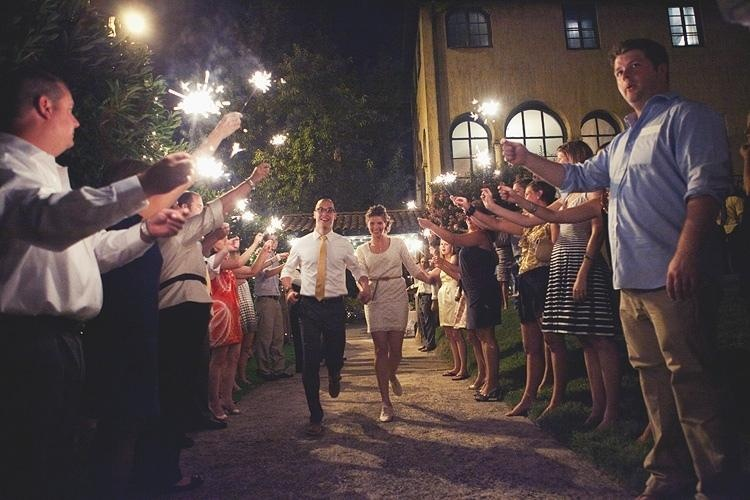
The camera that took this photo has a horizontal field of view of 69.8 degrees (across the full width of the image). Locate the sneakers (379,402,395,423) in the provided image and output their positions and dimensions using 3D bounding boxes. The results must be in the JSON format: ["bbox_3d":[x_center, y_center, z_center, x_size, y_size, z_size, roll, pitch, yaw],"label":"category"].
[{"bbox_3d":[0.137,1.989,6.598,0.174,0.154,0.257,-2,-1,-1],"label":"sneakers"}]

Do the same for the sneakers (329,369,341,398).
[{"bbox_3d":[-0.527,1.738,7.036,0.150,0.454,0.158,0,20,-4],"label":"sneakers"}]

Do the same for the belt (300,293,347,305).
[{"bbox_3d":[-0.665,0.621,6.802,0.504,0.085,0.182,-2,-1,-16],"label":"belt"}]

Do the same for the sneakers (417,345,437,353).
[{"bbox_3d":[1.191,2.385,12.925,0.162,0.198,0.479,9,-20,-31],"label":"sneakers"}]

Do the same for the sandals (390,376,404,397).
[{"bbox_3d":[0.280,1.917,7.502,0.126,0.357,0.127,-21,-36,6],"label":"sandals"}]

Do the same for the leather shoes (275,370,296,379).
[{"bbox_3d":[-1.639,2.280,9.863,0.347,0.163,0.133,0,-2,-9],"label":"leather shoes"}]

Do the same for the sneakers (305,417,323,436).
[{"bbox_3d":[-0.687,2.029,6.208,0.193,0.119,0.405,-2,-1,-2],"label":"sneakers"}]

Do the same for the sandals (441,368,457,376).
[{"bbox_3d":[1.289,2.152,9.391,0.267,0.110,0.090,20,-32,-26],"label":"sandals"}]
